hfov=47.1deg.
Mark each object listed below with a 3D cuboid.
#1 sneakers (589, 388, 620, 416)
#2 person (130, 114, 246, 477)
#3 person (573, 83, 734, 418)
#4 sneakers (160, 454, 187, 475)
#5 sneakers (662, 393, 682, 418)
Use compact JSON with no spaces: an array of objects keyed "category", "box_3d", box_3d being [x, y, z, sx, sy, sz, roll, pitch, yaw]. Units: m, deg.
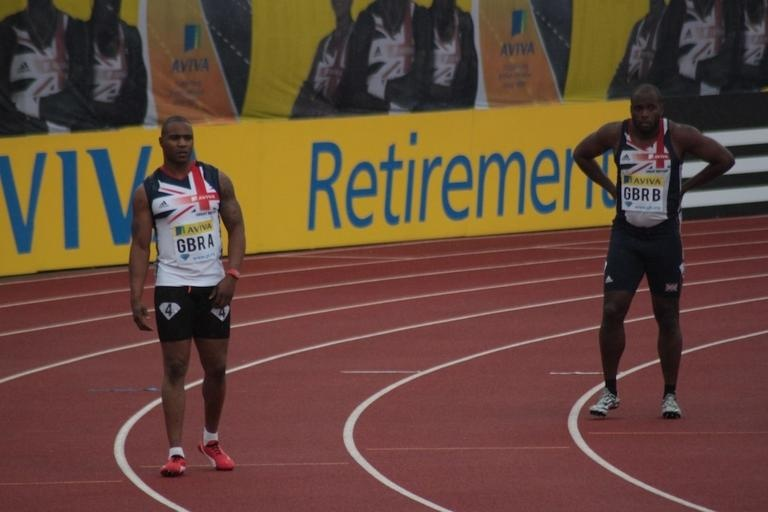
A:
[{"category":"sneakers","box_3d":[2.034,1.320,8.075,0.148,0.197,0.397,9,18,31]},{"category":"person","box_3d":[-1.518,0.317,6.880,0.875,2.758,0.597,-2,11,-10]},{"category":"person","box_3d":[2.368,0.100,7.969,1.178,2.662,0.743,2,11,12]},{"category":"sneakers","box_3d":[-1.628,1.625,6.870,0.102,0.122,0.267,15,-8,0]},{"category":"sneakers","box_3d":[2.605,1.355,7.935,0.108,0.147,0.304,-1,-2,5]}]
